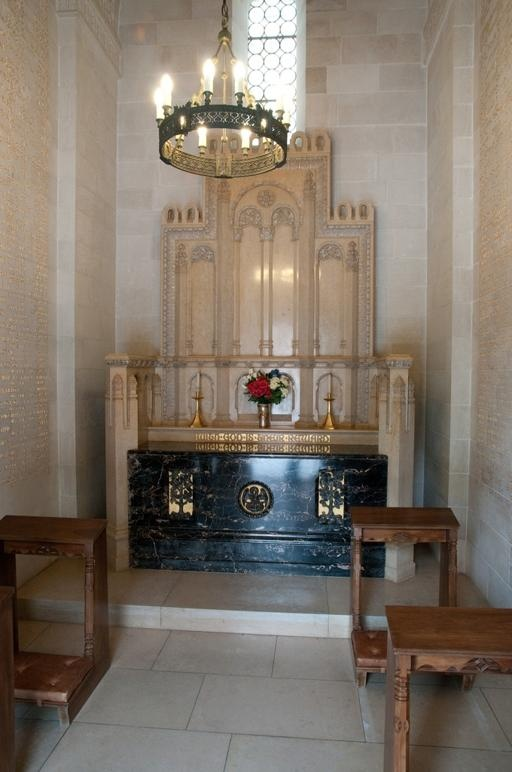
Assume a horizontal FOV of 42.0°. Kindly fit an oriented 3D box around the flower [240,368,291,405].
[{"bbox_3d":[0.076,0.015,5.546,0.330,0.263,0.334,1,3,34],"label":"flower"}]

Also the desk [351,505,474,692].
[{"bbox_3d":[0.782,1.079,3.658,0.655,0.968,0.828,-1,-4,5],"label":"desk"}]

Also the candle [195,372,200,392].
[{"bbox_3d":[-0.524,-0.036,6.041,0.046,0.162,0.087,-2,8,-6],"label":"candle"}]
